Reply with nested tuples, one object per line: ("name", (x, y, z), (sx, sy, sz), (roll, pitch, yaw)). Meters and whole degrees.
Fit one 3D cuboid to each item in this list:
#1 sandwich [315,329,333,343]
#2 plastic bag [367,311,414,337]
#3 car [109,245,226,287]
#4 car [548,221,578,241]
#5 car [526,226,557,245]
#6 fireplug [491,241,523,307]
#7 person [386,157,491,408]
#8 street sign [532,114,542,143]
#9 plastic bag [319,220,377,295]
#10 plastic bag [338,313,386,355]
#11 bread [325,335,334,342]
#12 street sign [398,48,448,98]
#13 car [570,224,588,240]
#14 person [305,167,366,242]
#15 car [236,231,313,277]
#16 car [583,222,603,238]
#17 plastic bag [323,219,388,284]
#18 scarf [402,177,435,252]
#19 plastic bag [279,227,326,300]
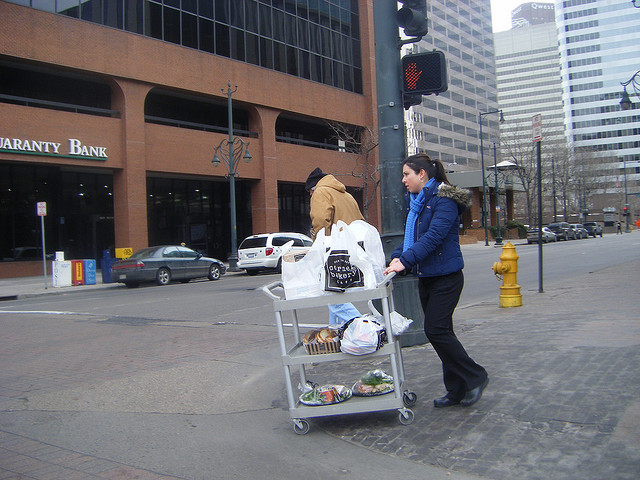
("sandwich", (0.037, 0.988, 6.245), (0.120, 0.111, 0.030), (-2, -35, 1))
("plastic bag", (0.813, 0.850, 6.312), (0.298, 0.098, 0.311), (6, 9, 27))
("car", (-5.770, 0.887, 23.117), (1.587, 1.048, 3.798), (-1, 2, 38))
("car", (21.252, -0.807, 53.853), (1.740, 1.510, 4.089), (0, 4, 40))
("car", (16.184, -0.301, 44.435), (1.459, 0.977, 3.167), (1, 4, 37))
("fireplug", (3.643, 0.653, 11.853), (0.698, 1.214, 0.677), (-2, -1, 19))
("person", (1.249, 0.422, 6.390), (0.885, 2.574, 0.793), (-3, 6, 14))
("street sign", (4.492, -2.323, 12.652), (0.174, 0.585, 0.471), (-2, 6, 19))
("plastic bag", (0.274, 0.124, 6.069), (0.609, 0.678, 0.494), (-8, 28, -5))
("plastic bag", (0.450, 0.933, 6.243), (0.507, 0.252, 0.671), (-5, 15, 13))
("bread", (0.085, 1.004, 6.187), (0.087, 0.044, 0.138), (-4, 6, -3))
("street sign", (1.510, -2.451, 8.972), (0.758, 0.703, 0.269), (3, 15, 31))
("car", (24.775, -0.837, 58.976), (1.235, 1.177, 2.679), (0, 5, 39))
("person", (0.148, -0.473, 7.730), (0.693, 0.876, 0.986), (-3, 6, 5))
("car", (-2.138, 0.546, 25.704), (2.628, 1.581, 1.525), (-5, 6, -11))
("car", (27.769, -1.076, 62.522), (1.417, 1.096, 3.286), (1, 3, 31))
("plastic bag", (0.414, 0.282, 6.403), (0.467, 0.741, 0.611), (-7, 19, -17))
("scarf", (0.995, -0.225, 6.518), (0.240, 0.631, 0.169), (-3, 6, 8))
("plastic bag", (-0.070, 0.277, 6.396), (0.619, 0.803, 0.542), (0, -4, 5))
